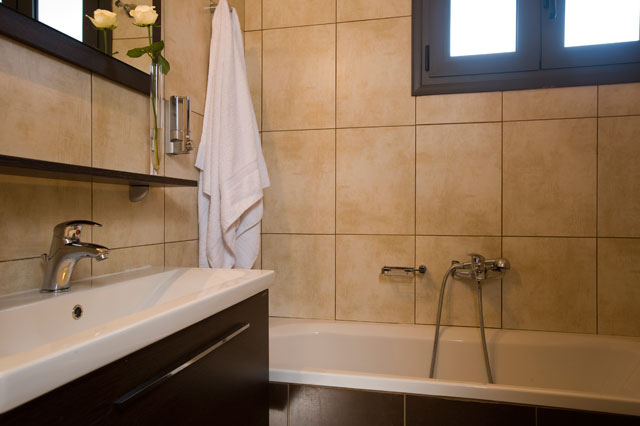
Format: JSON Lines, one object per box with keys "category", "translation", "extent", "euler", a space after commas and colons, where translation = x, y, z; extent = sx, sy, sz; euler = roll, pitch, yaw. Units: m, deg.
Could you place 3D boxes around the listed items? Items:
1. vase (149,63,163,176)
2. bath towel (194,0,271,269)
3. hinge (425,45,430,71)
{"category": "vase", "translation": [-0.818, -0.466, 2.633], "extent": [0.063, 0.455, 0.143], "euler": [1, 0, -19]}
{"category": "bath towel", "translation": [-0.496, -0.440, 3.040], "extent": [0.422, 1.317, 0.274], "euler": [1, 0, -21]}
{"category": "hinge", "translation": [0.647, -0.932, 3.190], "extent": [0.027, 0.153, 0.009], "euler": [1, 0, -6]}
